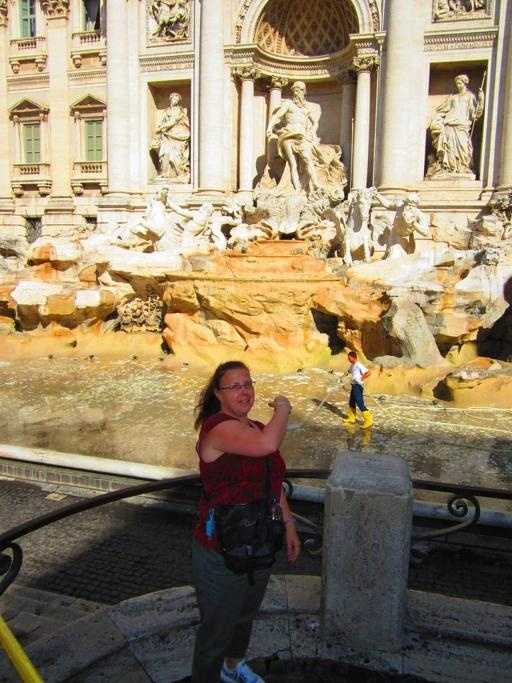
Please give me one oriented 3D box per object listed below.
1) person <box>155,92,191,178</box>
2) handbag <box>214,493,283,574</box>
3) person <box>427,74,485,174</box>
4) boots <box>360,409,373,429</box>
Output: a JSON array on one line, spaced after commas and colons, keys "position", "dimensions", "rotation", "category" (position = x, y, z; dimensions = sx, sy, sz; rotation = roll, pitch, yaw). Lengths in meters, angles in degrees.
[{"position": [-2.793, -6.847, 18.392], "dimensions": [1.142, 2.945, 0.562], "rotation": [0, 9, -4], "category": "person"}, {"position": [-0.054, 0.652, 1.950], "dimensions": [0.250, 0.110, 0.300], "rotation": [-14, 25, 2], "category": "handbag"}, {"position": [5.585, -6.050, 15.488], "dimensions": [1.430, 2.810, 0.495], "rotation": [3, 10, 14], "category": "person"}, {"position": [1.360, 0.942, 6.774], "dimensions": [0.140, 0.265, 0.395], "rotation": [2, 9, 11], "category": "boots"}]
